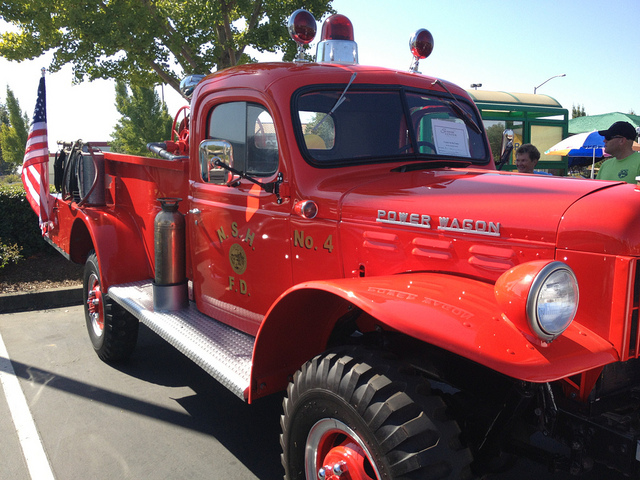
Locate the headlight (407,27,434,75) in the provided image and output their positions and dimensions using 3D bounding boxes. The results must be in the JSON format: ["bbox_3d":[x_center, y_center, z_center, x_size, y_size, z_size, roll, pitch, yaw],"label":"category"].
[{"bbox_3d":[0.900,-1.712,4.417,0.207,0.379,0.209,-1,18,-27],"label":"headlight"}]

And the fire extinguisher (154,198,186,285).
[{"bbox_3d":[-1.334,0.044,4.344,0.258,0.818,0.265,-3,13,-23],"label":"fire extinguisher"}]

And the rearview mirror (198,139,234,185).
[{"bbox_3d":[-0.711,-0.540,3.340,0.226,0.323,0.081,-1,31,-15],"label":"rearview mirror"}]
